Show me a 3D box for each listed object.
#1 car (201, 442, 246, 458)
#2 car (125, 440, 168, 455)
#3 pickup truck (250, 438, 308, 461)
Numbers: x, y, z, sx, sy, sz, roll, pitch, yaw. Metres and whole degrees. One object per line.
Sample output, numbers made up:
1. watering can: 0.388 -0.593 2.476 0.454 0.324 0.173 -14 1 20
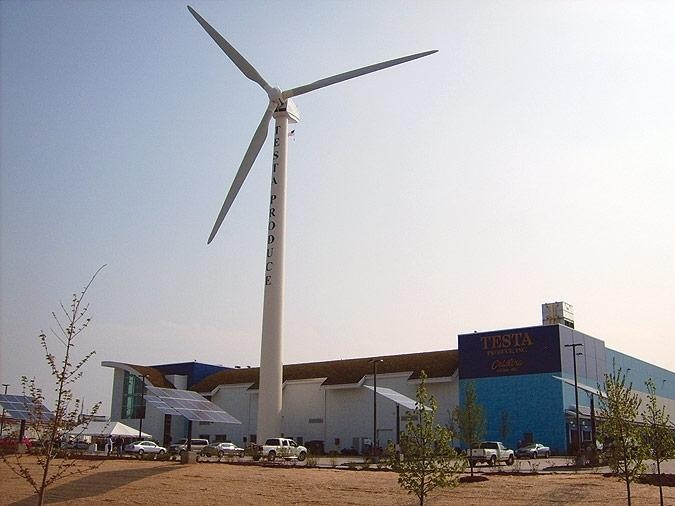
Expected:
1. car: -12.143 20.388 56.225 2.962 1.435 3.722 -18 -29 41
2. car: -19.678 19.800 55.193 3.518 1.389 4.501 -3 -22 12
3. pickup truck: -4.760 17.421 47.131 4.543 1.737 2.170 7 -12 -42
